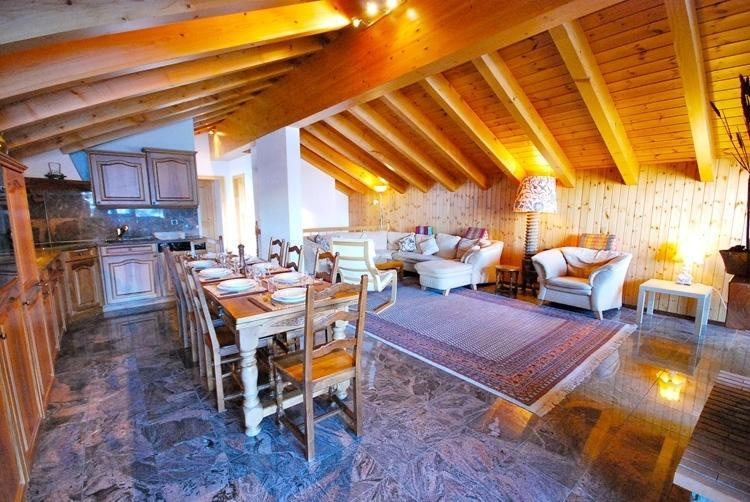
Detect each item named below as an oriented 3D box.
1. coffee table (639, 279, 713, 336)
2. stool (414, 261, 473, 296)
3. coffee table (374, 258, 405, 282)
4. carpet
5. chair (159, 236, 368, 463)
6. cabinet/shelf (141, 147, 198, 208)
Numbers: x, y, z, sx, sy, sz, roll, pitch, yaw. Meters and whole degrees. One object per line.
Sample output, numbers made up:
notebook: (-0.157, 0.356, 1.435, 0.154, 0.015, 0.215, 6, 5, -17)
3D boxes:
coffee table: (3.924, 0.580, 5.780, 0.788, 0.573, 0.822, 8, 15, 38)
stool: (1.181, 0.376, 7.206, 0.648, 0.358, 0.622, -6, 12, -24)
coffee table: (0.258, 0.328, 8.180, 0.429, 0.248, 0.420, -12, 17, -42)
carpet: (1.471, 1.106, 5.597, 2.517, 0.696, 2.330, 0, 5, 45)
chair: (-1.093, 1.017, 4.306, 0.697, 0.717, 2.011, -9, 14, -31)
cabinet/shelf: (-3.198, -1.126, 6.810, 0.550, 1.017, 0.847, 9, 15, 40)
